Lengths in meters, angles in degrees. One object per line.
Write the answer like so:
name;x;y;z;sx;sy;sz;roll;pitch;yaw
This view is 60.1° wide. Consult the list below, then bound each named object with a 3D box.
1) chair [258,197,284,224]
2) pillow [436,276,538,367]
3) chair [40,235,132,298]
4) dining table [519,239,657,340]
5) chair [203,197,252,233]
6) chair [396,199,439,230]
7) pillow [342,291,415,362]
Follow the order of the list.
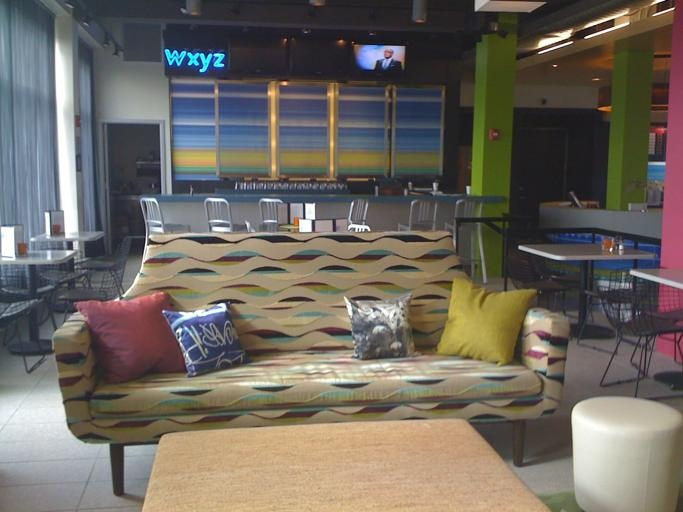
chair;-0.936;-0.599;7.900;0.365;0.596;0.437;-1;2;-11
pillow;0.967;0.446;4.003;0.567;0.536;0.177;9;-14;35
chair;-3.029;0.148;6.959;0.818;1.082;0.846;2;3;-9
dining table;2.482;0.428;6.653;1.235;1.243;0.984;-8;-18;25
chair;-1.578;-0.564;8.186;0.446;0.734;0.521;8;20;24
chair;1.134;-0.609;8.728;0.577;0.465;0.734;2;13;8
pillow;0.254;0.509;4.069;0.412;0.365;0.162;-2;-18;-3
